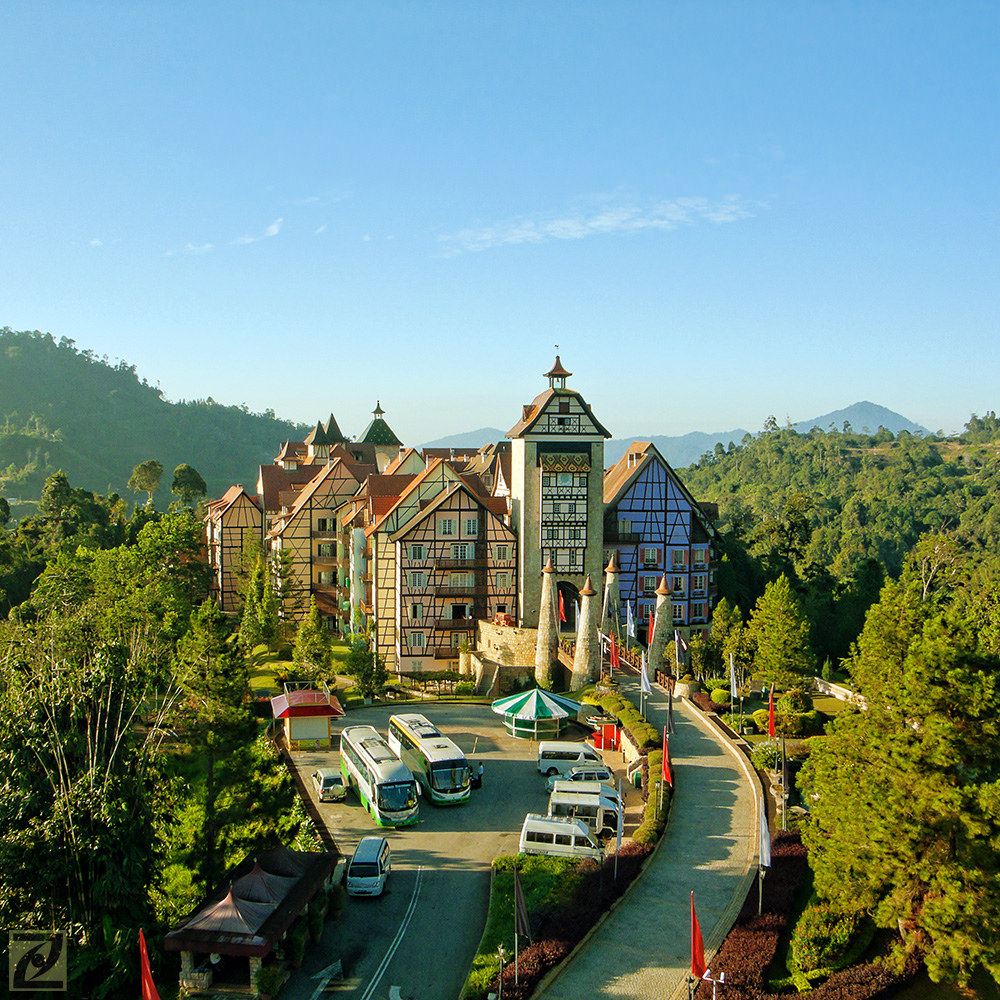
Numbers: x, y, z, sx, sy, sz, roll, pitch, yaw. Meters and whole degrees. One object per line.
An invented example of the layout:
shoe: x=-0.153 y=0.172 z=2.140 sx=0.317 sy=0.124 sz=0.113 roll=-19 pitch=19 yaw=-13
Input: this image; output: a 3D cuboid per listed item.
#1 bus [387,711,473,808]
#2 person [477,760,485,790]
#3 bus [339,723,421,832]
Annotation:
bus: x=-3.137 y=11.372 z=49.139 sx=1.625 sy=2.137 sz=6.561 roll=-1 pitch=2 yaw=-13
person: x=-0.905 y=12.327 z=49.310 sx=0.394 sy=0.946 sz=1.384 roll=0 pitch=-3 yaw=-1
bus: x=-5.152 y=11.348 z=46.146 sx=1.536 sy=1.808 sz=5.536 roll=-2 pitch=5 yaw=-14
